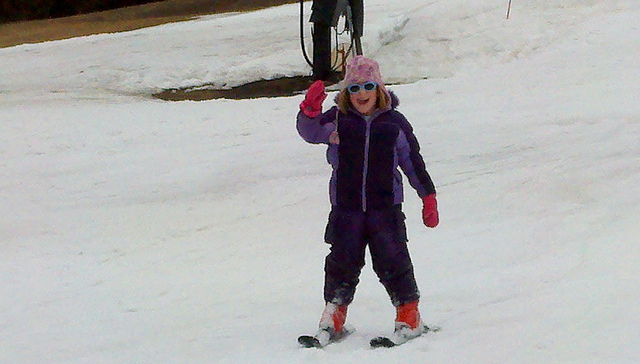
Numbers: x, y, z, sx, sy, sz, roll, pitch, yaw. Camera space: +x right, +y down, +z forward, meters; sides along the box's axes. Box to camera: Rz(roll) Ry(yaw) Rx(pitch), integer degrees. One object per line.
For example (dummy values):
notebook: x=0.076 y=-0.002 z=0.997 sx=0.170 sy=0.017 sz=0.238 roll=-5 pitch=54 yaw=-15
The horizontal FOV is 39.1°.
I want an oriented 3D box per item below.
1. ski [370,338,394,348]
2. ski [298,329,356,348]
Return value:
ski: x=1.016 y=2.633 z=14.759 sx=0.377 sy=0.148 sz=0.127 roll=-1 pitch=-2 yaw=4
ski: x=0.118 y=2.585 z=14.935 sx=0.876 sy=0.206 sz=0.253 roll=-5 pitch=8 yaw=-28
